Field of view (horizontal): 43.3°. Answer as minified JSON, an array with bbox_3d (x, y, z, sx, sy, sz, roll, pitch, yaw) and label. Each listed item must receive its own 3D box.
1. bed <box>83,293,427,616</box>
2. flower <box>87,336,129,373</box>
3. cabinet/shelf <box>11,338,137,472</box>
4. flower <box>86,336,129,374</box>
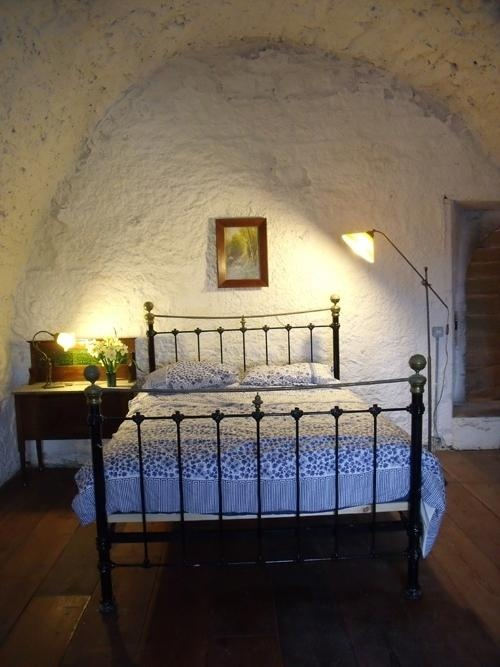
[{"bbox_3d":[-0.015,0.402,3.051,1.500,0.862,1.940,-2,6,-8],"label":"bed"},{"bbox_3d":[-0.774,0.114,3.549,0.244,0.184,0.203,-1,-4,-34],"label":"flower"},{"bbox_3d":[-1.064,0.470,3.536,0.483,0.487,0.319,-4,-9,-17],"label":"cabinet/shelf"},{"bbox_3d":[-0.812,0.113,3.568,0.245,0.210,0.211,3,11,19],"label":"flower"}]
